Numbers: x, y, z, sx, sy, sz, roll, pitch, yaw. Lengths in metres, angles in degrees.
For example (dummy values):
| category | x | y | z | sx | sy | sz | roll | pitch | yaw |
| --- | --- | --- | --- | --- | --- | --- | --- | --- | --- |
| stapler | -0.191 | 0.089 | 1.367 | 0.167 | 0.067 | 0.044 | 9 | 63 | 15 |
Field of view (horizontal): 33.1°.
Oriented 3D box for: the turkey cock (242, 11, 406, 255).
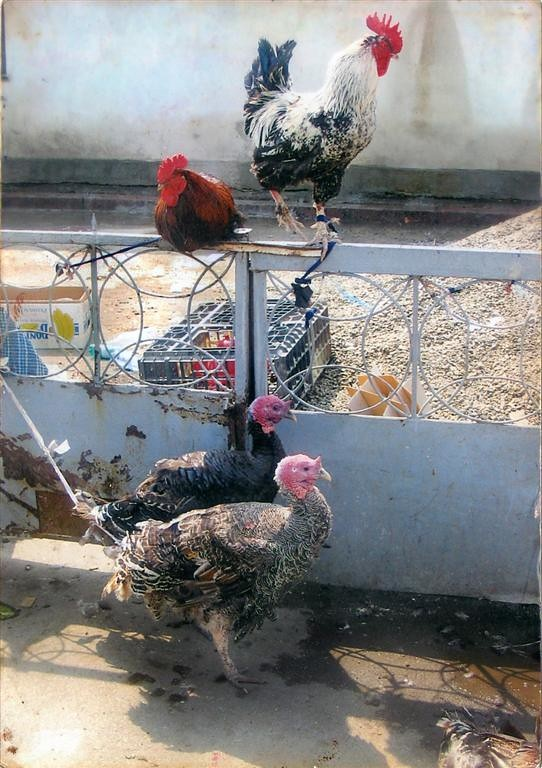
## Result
| category | x | y | z | sx | sy | sz | roll | pitch | yaw |
| --- | --- | --- | --- | --- | --- | --- | --- | --- | --- |
| turkey cock | 0.285 | -1.577 | 5.636 | 0.734 | 1.341 | 1.030 | -7 | 12 | -38 |

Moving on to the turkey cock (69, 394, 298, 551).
| category | x | y | z | sx | sy | sz | roll | pitch | yaw |
| --- | --- | --- | --- | --- | --- | --- | --- | --- | --- |
| turkey cock | -0.494 | 0.581 | 5.185 | 1.382 | 0.912 | 0.548 | -8 | 18 | -4 |

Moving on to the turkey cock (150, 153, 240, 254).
| category | x | y | z | sx | sy | sz | roll | pitch | yaw |
| --- | --- | --- | --- | --- | --- | --- | --- | --- | --- |
| turkey cock | -0.396 | -0.999 | 5.124 | 0.495 | 0.530 | 0.302 | 0 | 9 | -6 |

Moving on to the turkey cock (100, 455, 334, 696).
| category | x | y | z | sx | sy | sz | roll | pitch | yaw |
| --- | --- | --- | --- | --- | --- | --- | --- | --- | --- |
| turkey cock | -0.281 | 1.062 | 4.901 | 1.354 | 0.970 | 0.523 | -7 | 5 | 2 |
